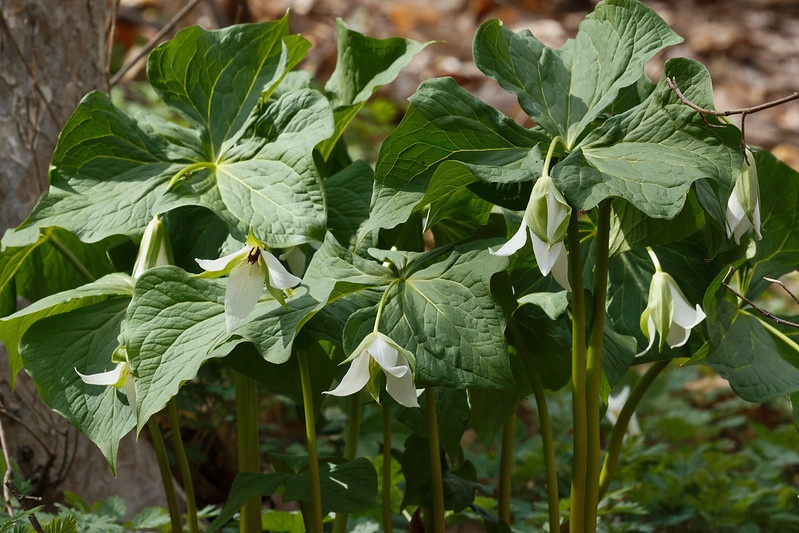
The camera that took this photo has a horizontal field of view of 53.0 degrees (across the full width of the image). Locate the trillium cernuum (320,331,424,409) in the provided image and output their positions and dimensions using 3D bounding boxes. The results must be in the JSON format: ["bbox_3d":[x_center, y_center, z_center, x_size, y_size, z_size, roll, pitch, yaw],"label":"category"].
[{"bbox_3d":[-0.058,0.264,2.060,0.171,0.175,0.179,-20,-33,34],"label":"trillium cernuum"}]

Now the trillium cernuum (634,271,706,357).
[{"bbox_3d":[0.719,0.094,2.123,0.165,0.210,0.152,-13,-6,21],"label":"trillium cernuum"}]

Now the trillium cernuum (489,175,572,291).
[{"bbox_3d":[0.336,-0.122,2.107,0.225,0.251,0.279,-1,-68,-9],"label":"trillium cernuum"}]

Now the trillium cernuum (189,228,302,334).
[{"bbox_3d":[-0.389,0.031,2.090,0.246,0.267,0.110,12,9,-4],"label":"trillium cernuum"}]

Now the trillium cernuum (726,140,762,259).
[{"bbox_3d":[0.929,-0.200,2.175,0.091,0.276,0.092,29,-28,-29],"label":"trillium cernuum"}]

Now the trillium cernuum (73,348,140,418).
[{"bbox_3d":[-0.805,0.301,2.205,0.170,0.173,0.078,-33,-39,-31],"label":"trillium cernuum"}]
